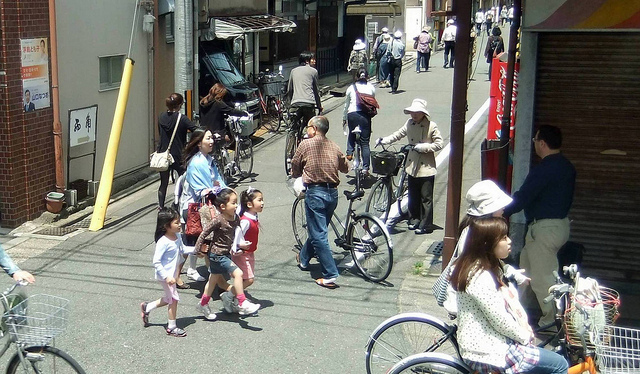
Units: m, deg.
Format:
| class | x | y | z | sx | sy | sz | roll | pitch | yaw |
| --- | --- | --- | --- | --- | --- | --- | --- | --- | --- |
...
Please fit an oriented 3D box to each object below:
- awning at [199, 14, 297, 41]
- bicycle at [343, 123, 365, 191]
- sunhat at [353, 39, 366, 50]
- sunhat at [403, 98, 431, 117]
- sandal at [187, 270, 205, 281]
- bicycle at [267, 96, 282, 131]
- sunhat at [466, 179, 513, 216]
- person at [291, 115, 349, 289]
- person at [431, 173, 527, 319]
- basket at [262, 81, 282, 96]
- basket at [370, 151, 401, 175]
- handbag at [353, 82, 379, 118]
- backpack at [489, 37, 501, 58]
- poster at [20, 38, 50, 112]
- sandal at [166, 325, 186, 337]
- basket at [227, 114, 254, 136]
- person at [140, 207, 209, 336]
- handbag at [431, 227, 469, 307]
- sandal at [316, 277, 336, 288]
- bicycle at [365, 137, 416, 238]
| class | x | y | z | sx | sy | sz | roll | pitch | yaw |
| --- | --- | --- | --- | --- | --- | --- | --- | --- | --- |
| awning | -1.920 | -5.122 | 17.721 | 1.064 | 0.558 | 3.768 | 17 | 24 | 20 |
| bicycle | 0.892 | -0.637 | 13.044 | 0.699 | 0.817 | 1.407 | 1 | 18 | 2 |
| sunhat | 1.644 | -5.861 | 22.920 | 0.596 | 0.301 | 0.601 | 1 | 33 | 11 |
| sunhat | 1.994 | -1.582 | 11.019 | 0.440 | 0.235 | 0.405 | 5 | 5 | -31 |
| sandal | -2.128 | 1.527 | 9.729 | 0.355 | 0.162 | 0.128 | 9 | 18 | 13 |
| bicycle | -1.499 | -2.508 | 18.564 | 0.434 | 1.050 | 1.069 | 0 | 20 | -6 |
| sunhat | 2.014 | 0.143 | 6.652 | 0.426 | 0.232 | 0.454 | -12 | 24 | 51 |
| person | 0.039 | 0.237 | 9.641 | 0.834 | 2.732 | 1.276 | -9 | 22 | -27 |
| person | 1.940 | 0.995 | 6.834 | 0.982 | 2.022 | 0.699 | 12 | 16 | 21 |
| basket | -1.604 | -3.401 | 19.085 | 0.551 | 0.473 | 0.643 | -2 | 5 | 29 |
| basket | 1.316 | -0.489 | 11.124 | 0.521 | 0.348 | 0.425 | 0 | 9 | -1 |
| handbag | 1.087 | -2.067 | 13.318 | 0.594 | 0.752 | 0.373 | 2 | 19 | 1 |
| backpack | 7.772 | -6.183 | 24.775 | 0.619 | 0.764 | 0.329 | -11 | 20 | -35 |
| poster | -5.830 | -2.363 | 11.572 | 0.944 | 1.706 | 0.020 | 1 | 3 | 26 |
| sandal | -2.137 | 2.159 | 8.404 | 0.290 | 0.132 | 0.124 | 2 | 8 | 3 |
| basket | -2.013 | -1.655 | 14.359 | 0.566 | 0.355 | 0.580 | 8 | 41 | 9 |
| person | -2.242 | 1.188 | 8.412 | 0.926 | 1.881 | 0.915 | -3 | 20 | -12 |
| handbag | 1.581 | 1.020 | 6.869 | 0.319 | 1.346 | 0.666 | 5 | 20 | 10 |
| sandal | 0.105 | 1.614 | 9.541 | 0.274 | 0.083 | 0.136 | 7 | 11 | 20 |
| bicycle | 1.370 | -0.095 | 11.632 | 0.874 | 2.099 | 0.880 | 9 | 16 | 31 |
